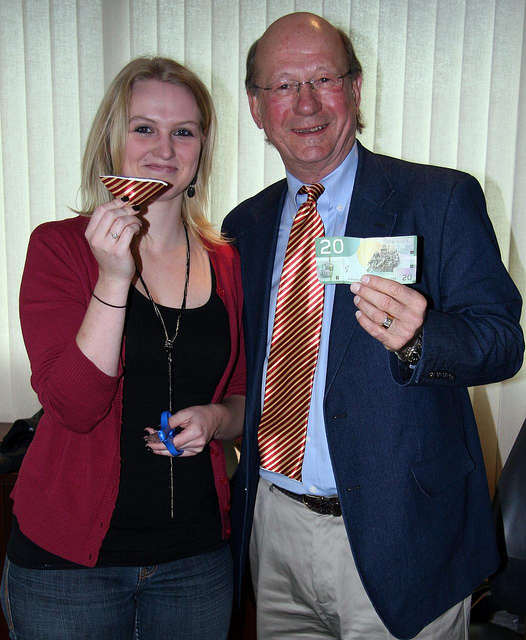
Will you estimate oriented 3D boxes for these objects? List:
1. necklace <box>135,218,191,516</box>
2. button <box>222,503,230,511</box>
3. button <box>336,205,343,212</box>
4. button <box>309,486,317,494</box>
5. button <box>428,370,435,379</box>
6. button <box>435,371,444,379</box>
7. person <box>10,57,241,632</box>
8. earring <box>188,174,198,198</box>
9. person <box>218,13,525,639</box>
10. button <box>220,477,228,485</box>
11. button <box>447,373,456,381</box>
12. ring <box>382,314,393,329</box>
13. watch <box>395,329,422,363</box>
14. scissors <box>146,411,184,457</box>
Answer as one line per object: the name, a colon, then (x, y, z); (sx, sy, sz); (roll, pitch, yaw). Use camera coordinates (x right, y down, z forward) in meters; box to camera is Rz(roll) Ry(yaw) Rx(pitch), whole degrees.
necklace: (-0.258, -0.023, 1.488); (0.134, 0.461, 0.356); (1, 6, -7)
button: (-0.093, 0.471, 1.436); (0.019, 0.017, 0.004); (2, 1, -40)
button: (0.200, -0.292, 1.485); (0.017, 0.016, 0.004); (0, -11, 2)
button: (0.124, 0.418, 1.403); (0.017, 0.016, 0.004); (-3, -3, 22)
button: (0.348, 0.111, 1.172); (0.012, 0.015, 0.004); (0, 6, -2)
button: (0.366, 0.112, 1.180); (0.019, 0.017, 0.004); (-1, -4, 0)
person: (-0.317, 0.037, 1.422); (0.614, 1.412, 0.515); (-2, 7, -27)
earring: (-0.204, -0.396, 1.685); (0.021, 0.074, 0.020); (11, -31, 11)
person: (0.224, 0.063, 1.462); (0.489, 1.721, 0.754); (-3, 7, -36)
button: (-0.099, 0.404, 1.432); (0.004, 0.015, 0.017); (1, 0, 39)
button: (0.394, 0.118, 1.188); (0.012, 0.016, 0.005); (-3, 3, -8)
ring: (0.246, 0.002, 1.119); (0.007, 0.020, 0.021); (29, -6, 12)
watch: (0.307, 0.053, 1.183); (0.023, 0.073, 0.061); (-3, 7, -35)
scissors: (-0.217, 0.246, 1.239); (0.033, 0.083, 0.088); (34, -26, 18)
